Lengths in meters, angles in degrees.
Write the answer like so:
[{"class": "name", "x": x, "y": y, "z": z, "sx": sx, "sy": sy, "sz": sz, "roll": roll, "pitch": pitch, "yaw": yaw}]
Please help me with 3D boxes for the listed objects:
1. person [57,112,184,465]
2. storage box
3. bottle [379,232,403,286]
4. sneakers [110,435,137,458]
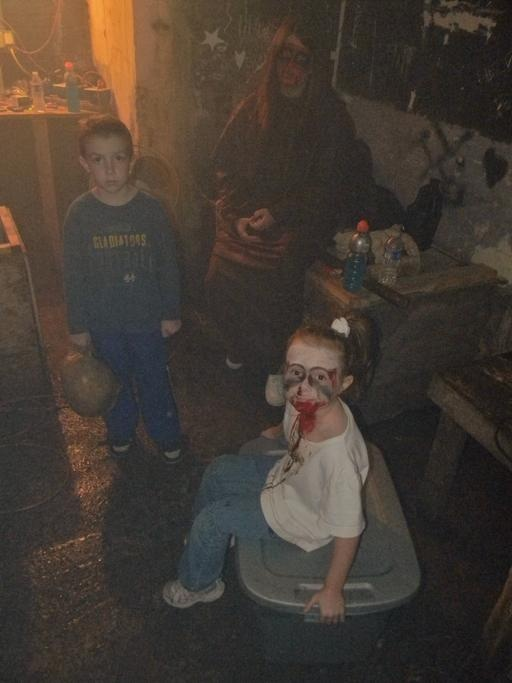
[{"class": "person", "x": -0.637, "y": -0.148, "z": 3.223, "sx": 0.620, "sy": 1.810, "sz": 0.390, "roll": 6, "pitch": 33, "yaw": -4}, {"class": "storage box", "x": 0.241, "y": 0.816, "z": 2.619, "sx": 0.673, "sy": 0.416, "sz": 0.754, "roll": -1, "pitch": 41, "yaw": -5}, {"class": "bottle", "x": 0.819, "y": -0.502, "z": 3.869, "sx": 0.108, "sy": 0.119, "sz": 0.414, "roll": 7, "pitch": 61, "yaw": 19}, {"class": "sneakers", "x": -0.773, "y": 0.567, "z": 3.673, "sx": 0.157, "sy": 0.156, "sz": 0.092, "roll": -11, "pitch": 28, "yaw": -12}]
